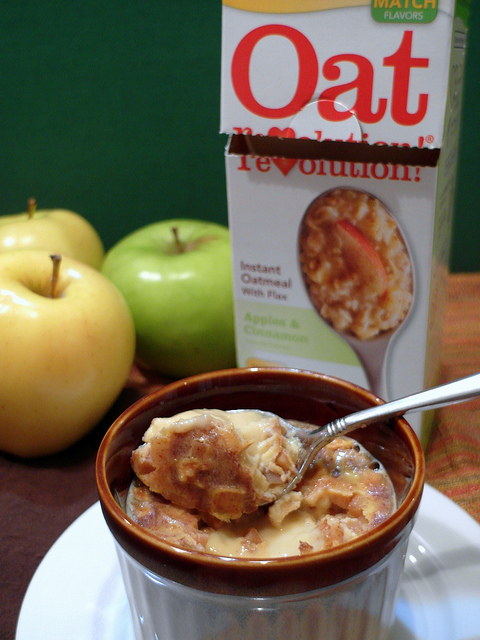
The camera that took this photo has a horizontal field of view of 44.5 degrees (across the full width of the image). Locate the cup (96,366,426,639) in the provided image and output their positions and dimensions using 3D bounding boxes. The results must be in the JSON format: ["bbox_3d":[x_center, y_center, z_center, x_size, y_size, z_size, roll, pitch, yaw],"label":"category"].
[{"bbox_3d":[0.017,0.103,0.426,0.188,0.173,0.217,-3,25,-2],"label":"cup"}]

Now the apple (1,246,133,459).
[{"bbox_3d":[-0.208,0.043,0.690,0.140,0.176,0.150,14,40,4],"label":"apple"}]

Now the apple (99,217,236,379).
[{"bbox_3d":[-0.079,-0.032,0.921,0.193,0.249,0.213,6,40,9],"label":"apple"}]

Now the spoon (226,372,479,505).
[{"bbox_3d":[0.095,0.090,0.427,0.149,0.084,0.092,6,30,9],"label":"spoon"}]
